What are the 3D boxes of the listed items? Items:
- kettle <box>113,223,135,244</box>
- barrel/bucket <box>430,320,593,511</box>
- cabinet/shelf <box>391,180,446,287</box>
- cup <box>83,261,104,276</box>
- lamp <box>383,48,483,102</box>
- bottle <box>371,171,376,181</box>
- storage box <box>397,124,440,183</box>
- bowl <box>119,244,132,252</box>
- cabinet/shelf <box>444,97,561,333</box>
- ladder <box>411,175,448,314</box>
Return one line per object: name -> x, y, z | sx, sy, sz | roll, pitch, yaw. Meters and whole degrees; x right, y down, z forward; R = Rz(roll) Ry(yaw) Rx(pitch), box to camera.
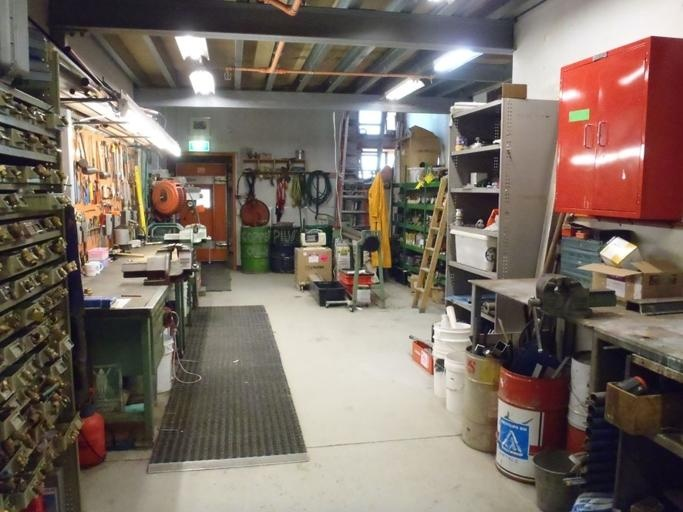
kettle -> -2.565, -0.266, 6.149 | 0.221, 0.240, 0.222 | 1, 4, 14
barrel/bucket -> 1.185, 0.996, 3.594 | 0.818, 0.964, 0.840 | 0, 1, 0
cabinet/shelf -> 1.264, -0.367, 8.468 | 0.461, 1.707, 1.512 | -3, 15, -23
cup -> -2.278, 0.119, 4.863 | 0.112, 0.129, 0.174 | 1, 1, 27
lamp -> 1.128, -2.164, 6.240 | 0.716, 0.370, 1.923 | -2, 12, -9
bottle -> 0.681, -1.687, 10.977 | 0.031, 0.239, 0.112 | 5, -4, -6
storage box -> 1.447, -1.900, 9.752 | 0.749, 1.000, 1.516 | -3, 12, -17
bowl -> -2.497, -0.101, 6.050 | 0.134, 0.102, 0.074 | -1, -5, -19
cabinet/shelf -> 1.415, -0.486, 5.018 | 0.403, 1.811, 0.850 | -1, 3, -20
ladder -> 1.245, -0.162, 7.378 | 0.445, 1.911, 1.406 | 2, 11, 10
